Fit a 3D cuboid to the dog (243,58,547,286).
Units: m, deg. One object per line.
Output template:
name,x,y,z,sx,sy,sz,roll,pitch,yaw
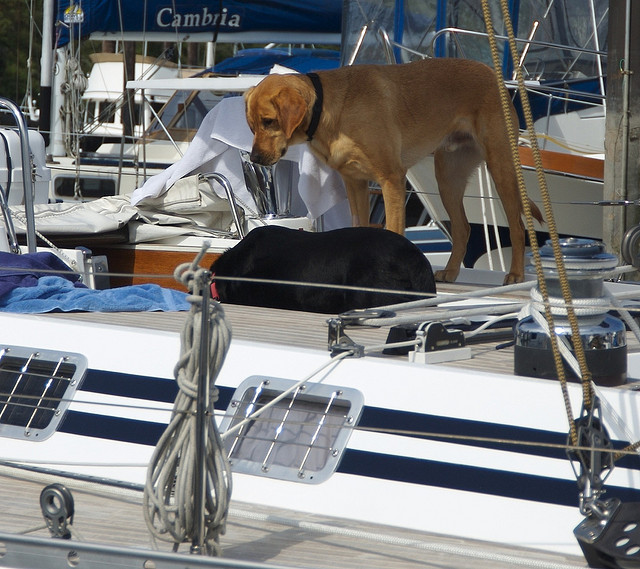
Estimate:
dog,0.354,-0.843,9.418,1.330,1.404,1.625,4,15,17
